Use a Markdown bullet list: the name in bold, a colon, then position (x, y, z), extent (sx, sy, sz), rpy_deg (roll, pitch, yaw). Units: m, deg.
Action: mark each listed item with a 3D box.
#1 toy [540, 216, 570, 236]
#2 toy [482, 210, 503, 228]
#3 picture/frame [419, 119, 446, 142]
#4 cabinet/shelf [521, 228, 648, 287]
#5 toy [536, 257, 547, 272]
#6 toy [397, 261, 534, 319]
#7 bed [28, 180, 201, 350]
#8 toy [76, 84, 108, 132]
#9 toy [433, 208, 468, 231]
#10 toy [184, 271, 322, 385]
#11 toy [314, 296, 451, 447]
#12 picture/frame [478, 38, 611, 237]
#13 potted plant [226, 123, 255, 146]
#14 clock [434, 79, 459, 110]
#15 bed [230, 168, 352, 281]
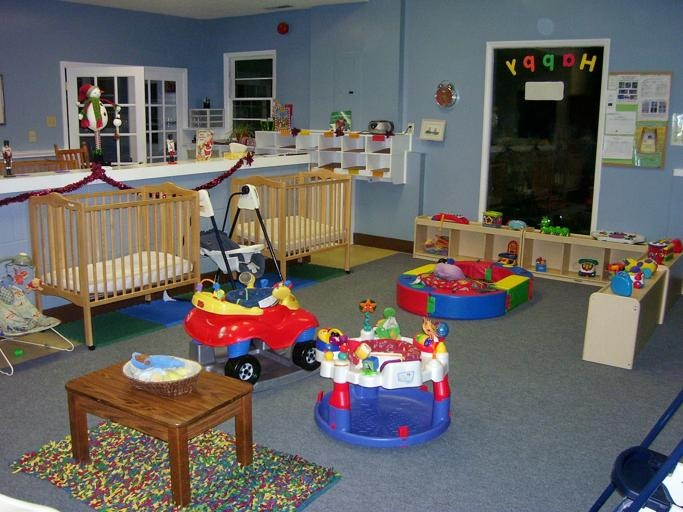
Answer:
- **toy**: position (2.470, -0.308, 5.956), extent (0.326, 0.109, 0.264), rpy_deg (5, 13, 21)
- **toy**: position (1.850, -0.440, 6.290), extent (0.200, 0.174, 0.203), rpy_deg (6, 7, 38)
- **picture/frame**: position (1.187, -1.634, 6.656), extent (0.290, 0.244, 0.031), rpy_deg (9, 7, 33)
- **cabinet/shelf**: position (2.490, 0.008, 5.981), extent (1.270, 0.570, 0.307), rpy_deg (6, 7, -17)
- **toy**: position (2.364, 0.113, 6.069), extent (0.105, 0.173, 0.127), rpy_deg (-14, 20, -41)
- **toy**: position (1.060, 0.358, 4.926), extent (0.830, 0.220, 0.838), rpy_deg (4, 14, 26)
- **bed**: position (-1.961, 0.015, 4.553), extent (0.864, 1.092, 1.194), rpy_deg (4, 9, 35)
- **toy**: position (-2.434, -1.433, 4.972), extent (0.235, 0.437, 0.397), rpy_deg (-7, 17, -26)
- **toy**: position (1.385, -0.423, 6.511), extent (0.523, 0.143, 0.179), rpy_deg (5, 17, 26)
- **toy**: position (-0.643, 0.488, 3.666), extent (0.941, 0.623, 0.718), rpy_deg (-5, 14, -41)
- **toy**: position (0.237, 0.713, 3.066), extent (0.809, 0.634, 0.584), rpy_deg (0, 15, -4)
- **picture/frame**: position (2.424, -1.428, 6.209), extent (1.354, 2.417, 0.063), rpy_deg (4, -6, 20)
- **potted plant**: position (-1.615, -1.949, 8.220), extent (0.431, 0.327, 0.668), rpy_deg (-2, 16, -13)
- **clock**: position (1.320, -2.036, 6.480), extent (0.260, 0.341, 0.083), rpy_deg (-2, 8, 22)
- **bed**: position (-0.561, -0.350, 5.824), extent (0.916, 1.194, 1.337), rpy_deg (14, 20, 39)
